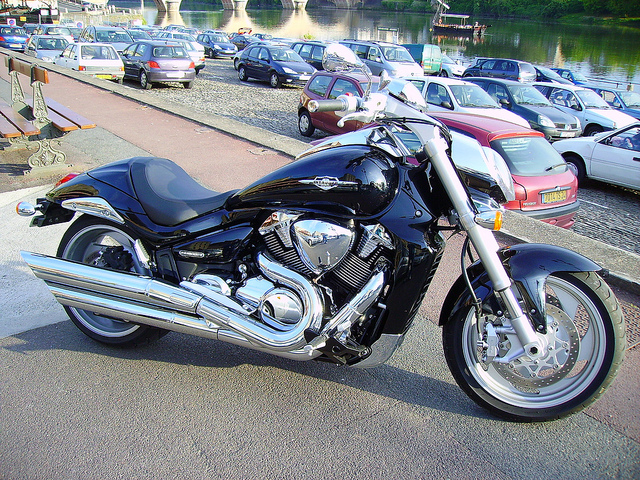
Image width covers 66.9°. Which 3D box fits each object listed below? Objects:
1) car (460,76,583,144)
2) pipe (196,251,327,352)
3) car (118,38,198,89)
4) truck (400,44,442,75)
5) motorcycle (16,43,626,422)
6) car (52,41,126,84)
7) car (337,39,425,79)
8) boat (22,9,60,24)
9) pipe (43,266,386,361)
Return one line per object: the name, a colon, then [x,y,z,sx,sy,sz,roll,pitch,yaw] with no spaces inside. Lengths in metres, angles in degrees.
car: [6.077,-3.962,13.594,3.380,0.990,1.463,-4,10,27]
pipe: [-0.451,0.421,2.876,0.916,0.461,0.180,23,-6,24]
car: [-5.784,-6.413,17.490,1.957,1.182,2.986,-18,35,-36]
truck: [5.283,-9.244,24.476,1.887,1.084,2.390,-4,26,-8]
motorcycle: [-0.130,0.047,3.254,4.098,1.480,1.344,9,10,14]
car: [-8.390,-6.482,17.256,2.759,1.071,1.709,30,35,31]
car: [2.446,-7.486,20.483,2.237,1.518,3.721,14,25,31]
boat: [-25.943,-21.286,45.436,2.406,1.403,4.308,-7,21,-26]
pipe: [-0.834,0.448,3.222,1.720,0.273,0.850,9,26,12]
